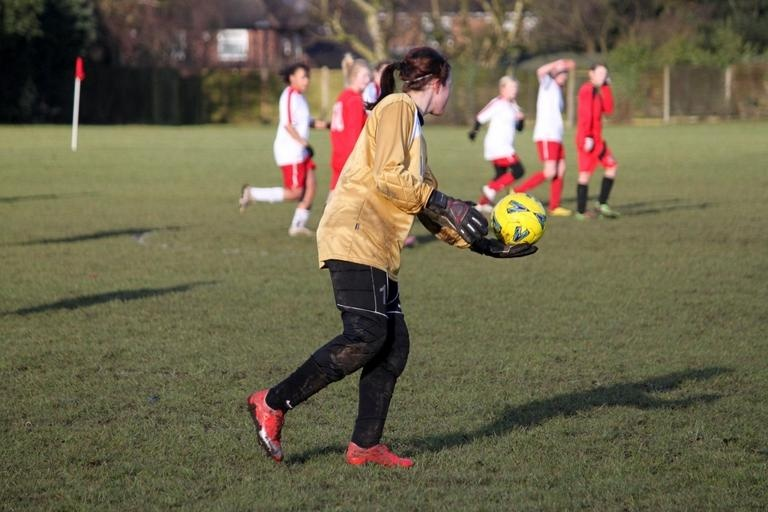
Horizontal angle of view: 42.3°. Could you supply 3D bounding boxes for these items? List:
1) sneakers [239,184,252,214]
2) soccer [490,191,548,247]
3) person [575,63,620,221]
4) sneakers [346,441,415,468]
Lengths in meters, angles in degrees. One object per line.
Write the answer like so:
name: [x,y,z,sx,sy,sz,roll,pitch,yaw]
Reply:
sneakers: [-1.562,-0.646,11.113,0.096,0.188,0.355,9,45,-8]
soccer: [1.041,-0.263,7.498,0.347,0.420,0.402,1,51,20]
person: [2.564,-1.398,11.947,0.624,2.175,0.760,3,27,19]
sneakers: [-0.043,1.424,7.222,0.516,0.216,0.191,1,1,-7]
